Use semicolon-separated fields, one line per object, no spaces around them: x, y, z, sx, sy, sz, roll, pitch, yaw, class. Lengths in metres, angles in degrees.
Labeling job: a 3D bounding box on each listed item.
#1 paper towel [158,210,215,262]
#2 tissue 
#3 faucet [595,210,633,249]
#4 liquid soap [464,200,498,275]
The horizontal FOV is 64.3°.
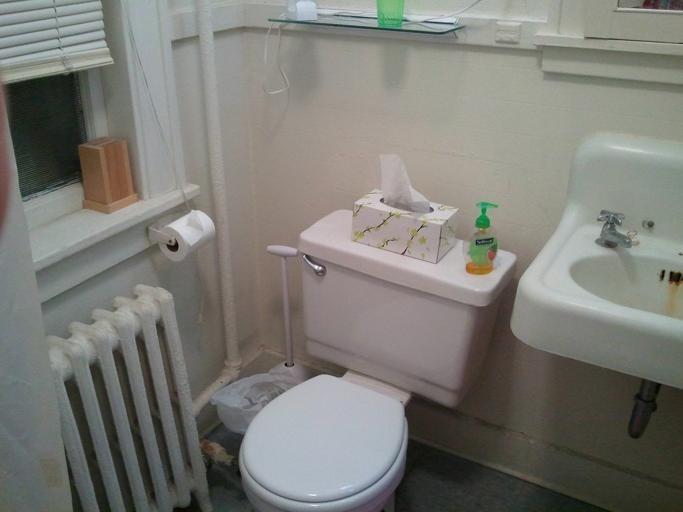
-0.453;-0.062;1.641;0.148;0.147;0.155;18;33;25;paper towel
0.208;-0.119;1.652;0.258;0.330;0.263;21;36;29;tissue 
0.690;-0.060;1.383;0.079;0.101;0.099;-32;33;-34;faucet
0.384;-0.034;1.525;0.079;0.207;0.102;11;35;12;liquid soap
